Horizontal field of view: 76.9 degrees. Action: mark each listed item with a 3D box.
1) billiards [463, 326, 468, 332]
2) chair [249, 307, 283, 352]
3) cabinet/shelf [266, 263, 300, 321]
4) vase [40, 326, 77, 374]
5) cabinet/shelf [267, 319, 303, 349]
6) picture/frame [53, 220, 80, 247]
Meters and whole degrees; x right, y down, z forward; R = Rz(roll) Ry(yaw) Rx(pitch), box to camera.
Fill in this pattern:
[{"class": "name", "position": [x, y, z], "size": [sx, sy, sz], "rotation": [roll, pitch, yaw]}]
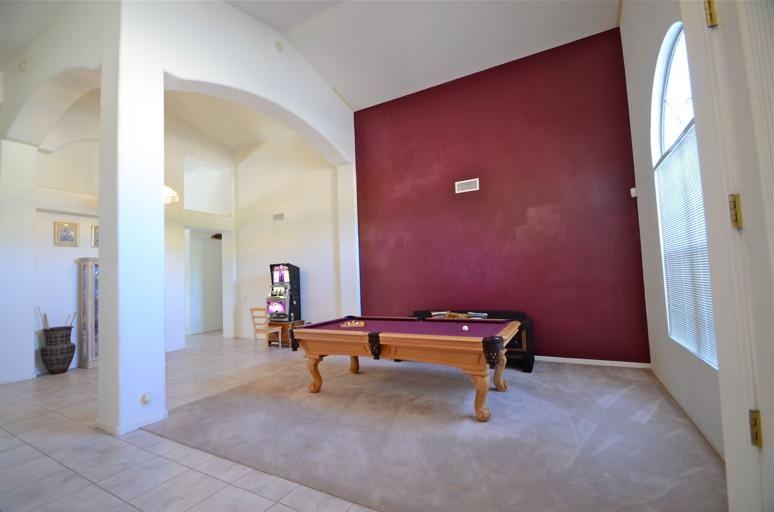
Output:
[{"class": "billiards", "position": [1.058, 0.977, 6.554], "size": [0.059, 0.033, 0.059], "rotation": [-2, 6, -2]}, {"class": "chair", "position": [-2.462, 1.449, 9.964], "size": [0.546, 0.808, 0.546], "rotation": [1, -4, -45]}, {"class": "cabinet/shelf", "position": [-2.086, 0.739, 9.884], "size": [0.635, 1.118, 0.574], "rotation": [-2, 7, 1]}, {"class": "vase", "position": [-5.569, 1.594, 8.263], "size": [0.503, 0.782, 0.259], "rotation": [-8, 9, -36]}, {"class": "cabinet/shelf", "position": [-1.866, 1.409, 8.963], "size": [0.706, 0.681, 0.525], "rotation": [-3, -4, 29]}, {"class": "picture/frame", "position": [-5.597, -0.390, 8.488], "size": [0.038, 0.508, 0.460], "rotation": [-3, 0, 32]}]
